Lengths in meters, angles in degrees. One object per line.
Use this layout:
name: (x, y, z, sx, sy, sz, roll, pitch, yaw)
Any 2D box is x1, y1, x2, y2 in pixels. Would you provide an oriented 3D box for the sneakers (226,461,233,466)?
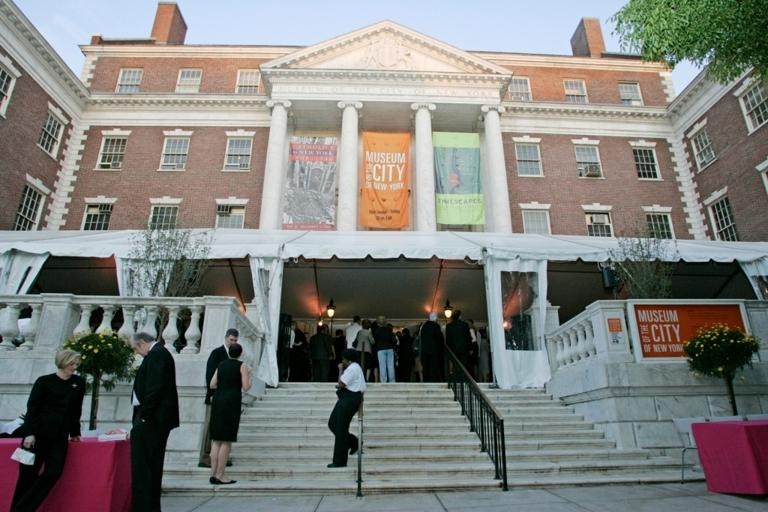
sneakers: (-3.164, 4.228, 9.903, 0.133, 0.114, 0.058, -3, -9, -2)

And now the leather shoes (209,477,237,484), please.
leather shoes: (-3.030, 4.188, 9.101, 0.508, 0.171, 0.159, 2, -15, -13)

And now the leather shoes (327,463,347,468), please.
leather shoes: (-0.942, 4.153, 9.684, 0.367, 0.133, 0.134, 5, -20, -2)

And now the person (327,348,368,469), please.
person: (-0.771, 3.145, 9.950, 0.733, 2.161, 0.686, 3, -18, -13)

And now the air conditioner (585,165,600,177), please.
air conditioner: (11.669, -4.729, 27.086, 0.670, 0.441, 0.350, 3, -27, -2)

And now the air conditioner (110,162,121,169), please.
air conditioner: (-14.840, -4.955, 26.782, 0.581, 0.501, 0.375, -1, -29, -11)

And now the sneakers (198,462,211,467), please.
sneakers: (-3.606, 4.163, 9.710, 0.256, 0.091, 0.081, -1, -14, 12)

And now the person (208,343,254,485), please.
person: (-2.975, 2.943, 9.127, 0.672, 2.550, 0.832, 6, -19, -20)
